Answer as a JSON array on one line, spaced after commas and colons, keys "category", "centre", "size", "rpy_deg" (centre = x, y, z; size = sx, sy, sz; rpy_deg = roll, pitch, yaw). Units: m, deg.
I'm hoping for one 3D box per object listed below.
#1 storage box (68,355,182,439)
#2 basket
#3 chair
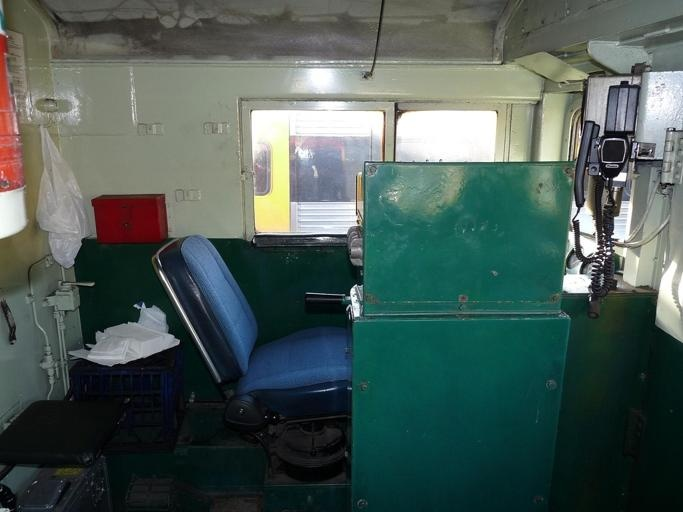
[{"category": "storage box", "centre": [-1.336, 0.893, 3.445], "size": [0.588, 0.441, 0.592], "rpy_deg": [0, 4, -6]}, {"category": "basket", "centre": [-1.325, 0.844, 3.370], "size": [0.547, 0.345, 0.556], "rpy_deg": [0, 2, 2]}, {"category": "chair", "centre": [-0.346, 0.562, 3.096], "size": [1.206, 1.248, 0.698], "rpy_deg": [1, 17, -7]}]
